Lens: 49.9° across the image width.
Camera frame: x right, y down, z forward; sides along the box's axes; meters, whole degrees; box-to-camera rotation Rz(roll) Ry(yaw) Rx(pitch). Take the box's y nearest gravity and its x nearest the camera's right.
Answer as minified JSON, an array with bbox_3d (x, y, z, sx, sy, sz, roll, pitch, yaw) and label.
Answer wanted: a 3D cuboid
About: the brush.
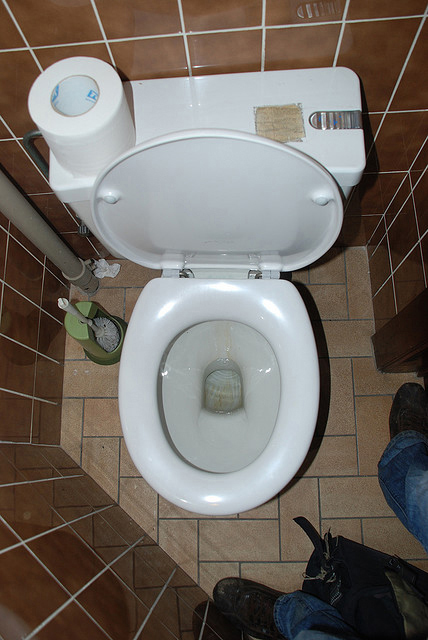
[{"bbox_3d":[-0.332,-0.011,1.173,0.040,0.041,0.080,-40,66,-14],"label":"brush"}]
